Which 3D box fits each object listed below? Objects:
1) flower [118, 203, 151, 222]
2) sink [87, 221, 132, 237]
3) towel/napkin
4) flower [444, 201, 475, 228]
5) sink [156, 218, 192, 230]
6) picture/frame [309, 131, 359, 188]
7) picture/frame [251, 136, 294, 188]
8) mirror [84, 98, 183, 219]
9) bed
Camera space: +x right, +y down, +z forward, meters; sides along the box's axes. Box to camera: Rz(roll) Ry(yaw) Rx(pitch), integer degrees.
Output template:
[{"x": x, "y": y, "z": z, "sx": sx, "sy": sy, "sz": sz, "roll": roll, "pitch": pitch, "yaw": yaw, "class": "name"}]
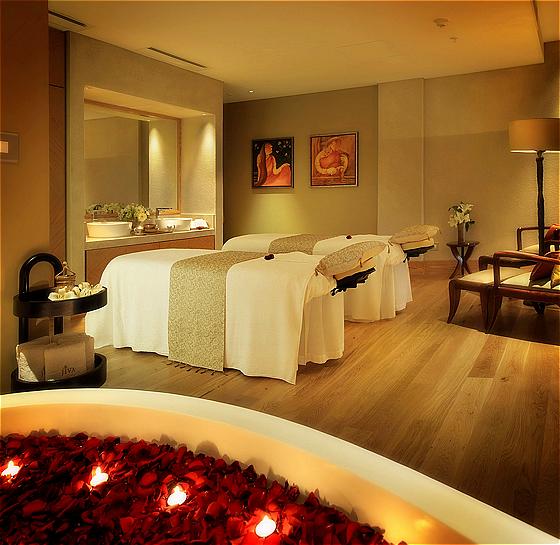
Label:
[{"x": -1.835, "y": -0.753, "z": 5.292, "sx": 0.330, "sy": 0.218, "sz": 0.421, "roll": -2, "pitch": 9, "yaw": -5, "class": "flower"}, {"x": -1.890, "y": -0.467, "z": 4.609, "sx": 0.441, "sy": 0.160, "sz": 0.225, "roll": -5, "pitch": 10, "yaw": -27, "class": "sink"}, {"x": -1.114, "y": 0.405, "z": 2.064, "sx": 0.199, "sy": 0.198, "sz": 0.290, "roll": 6, "pitch": 9, "yaw": 38, "class": "towel/napkin"}, {"x": 2.573, "y": -0.825, "z": 5.902, "sx": 0.361, "sy": 0.282, "sz": 0.381, "roll": 2, "pitch": 1, "yaw": 13, "class": "flower"}, {"x": -1.364, "y": -0.622, "z": 5.429, "sx": 0.260, "sy": 0.159, "sz": 0.537, "roll": 1, "pitch": 9, "yaw": 13, "class": "sink"}, {"x": 0.887, "y": -1.805, "z": 6.618, "sx": 0.788, "sy": 0.913, "sz": 0.058, "roll": 4, "pitch": 8, "yaw": 30, "class": "picture/frame"}, {"x": -0.097, "y": -1.885, "z": 7.075, "sx": 0.792, "sy": 0.918, "sz": 0.083, "roll": 3, "pitch": 5, "yaw": 31, "class": "picture/frame"}, {"x": -1.858, "y": -1.425, "z": 5.146, "sx": 0.056, "sy": 1.067, "sz": 1.415, "roll": 4, "pitch": 9, "yaw": 29, "class": "mirror"}, {"x": -0.396, "y": 0.186, "z": 3.025, "sx": 1.748, "sy": 0.753, "sz": 1.235, "roll": 3, "pitch": 7, "yaw": 28, "class": "bed"}]
